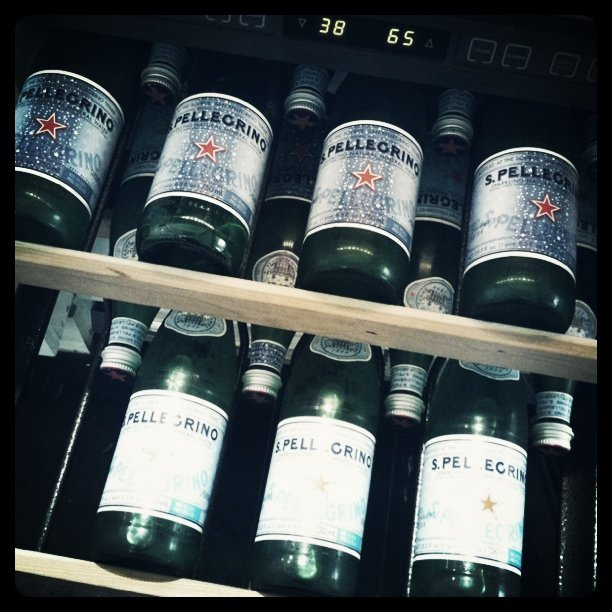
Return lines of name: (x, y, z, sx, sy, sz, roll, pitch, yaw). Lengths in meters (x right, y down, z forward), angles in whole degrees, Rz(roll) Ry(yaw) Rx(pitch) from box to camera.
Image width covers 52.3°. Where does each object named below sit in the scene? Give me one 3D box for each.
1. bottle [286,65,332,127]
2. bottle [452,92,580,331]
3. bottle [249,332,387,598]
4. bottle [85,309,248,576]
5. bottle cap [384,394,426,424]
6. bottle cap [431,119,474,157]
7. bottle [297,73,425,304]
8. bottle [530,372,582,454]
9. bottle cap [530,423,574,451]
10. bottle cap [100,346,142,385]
bottle: (0.015, -0.302, 0.925, 0.072, 0.106, 0.076, 8, -37, 6)
bottle: (0.298, -0.137, 0.856, 0.146, 0.456, 0.250, -2, -25, 24)
bottle: (0.023, 0.180, 0.837, 0.154, 0.375, 0.251, 6, -23, 7)
bottle: (-0.172, 0.144, 0.821, 0.149, 0.376, 0.220, 11, -23, -5)
bottle cap: (0.129, 0.131, 0.822, 0.039, 0.022, 0.040, 14, -22, -7)
bottle cap: (0.215, -0.244, 0.917, 0.055, 0.030, 0.074, 3, -24, 15)
bottle: (0.085, -0.180, 0.862, 0.143, 0.424, 0.198, 5, -23, 10)
bottle: (0.331, 0.145, 0.828, 0.070, 0.107, 0.067, 11, -41, 9)
bottle cap: (0.314, 0.169, 0.797, 0.047, 0.034, 0.037, 2, -24, 16)
bottle cap: (-0.254, 0.079, 0.838, 0.048, 0.032, 0.052, 2, -37, 0)
